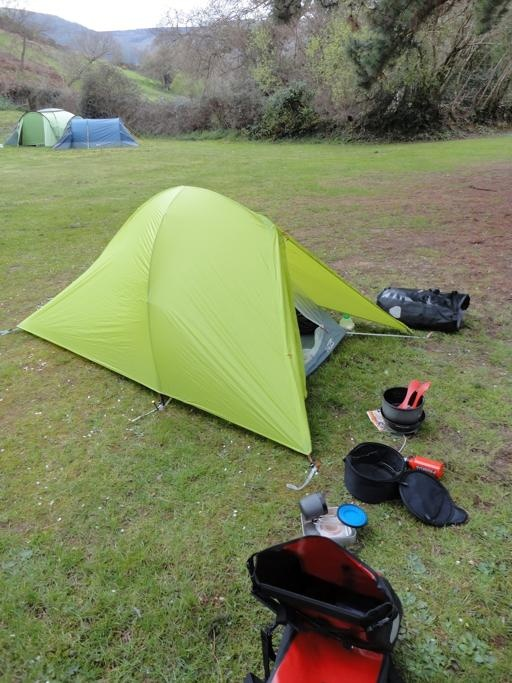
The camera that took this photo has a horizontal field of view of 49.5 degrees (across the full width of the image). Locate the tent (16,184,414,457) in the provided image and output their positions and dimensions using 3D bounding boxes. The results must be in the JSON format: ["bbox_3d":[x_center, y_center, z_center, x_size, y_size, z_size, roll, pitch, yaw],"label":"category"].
[{"bbox_3d":[-0.316,-0.299,4.253,2.611,1.041,1.882,23,43,23],"label":"tent"}]

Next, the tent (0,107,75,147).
[{"bbox_3d":[-9.341,-9.239,24.792,2.117,1.028,2.670,3,39,8],"label":"tent"}]

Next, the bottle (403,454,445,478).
[{"bbox_3d":[1.021,0.743,3.405,0.222,0.118,0.105,12,56,28],"label":"bottle"}]

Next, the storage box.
[{"bbox_3d":[0.870,0.843,3.245,0.543,0.169,0.435,19,22,38],"label":"storage box"}]

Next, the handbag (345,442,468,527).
[{"bbox_3d":[0.847,0.844,3.251,0.549,0.168,0.426,17,23,33],"label":"handbag"}]

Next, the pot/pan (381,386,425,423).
[{"bbox_3d":[1.037,0.458,3.877,0.273,0.146,0.258,-14,29,-18],"label":"pot/pan"}]
